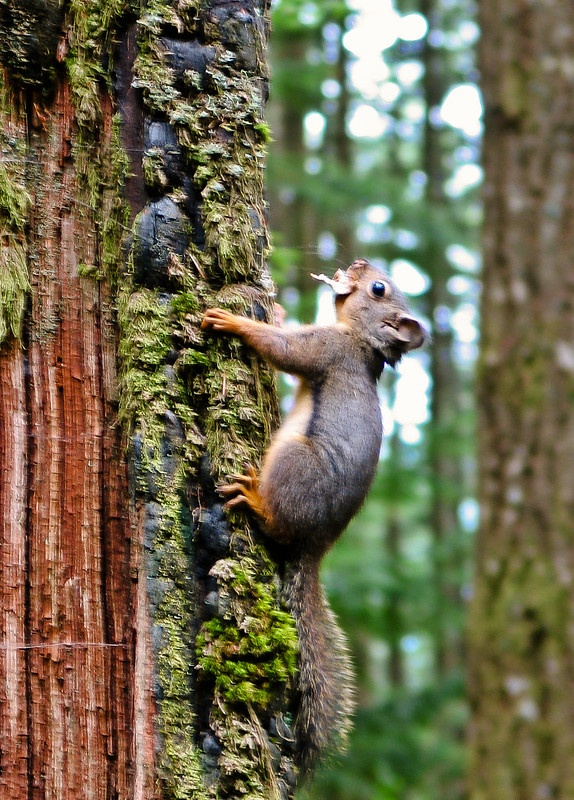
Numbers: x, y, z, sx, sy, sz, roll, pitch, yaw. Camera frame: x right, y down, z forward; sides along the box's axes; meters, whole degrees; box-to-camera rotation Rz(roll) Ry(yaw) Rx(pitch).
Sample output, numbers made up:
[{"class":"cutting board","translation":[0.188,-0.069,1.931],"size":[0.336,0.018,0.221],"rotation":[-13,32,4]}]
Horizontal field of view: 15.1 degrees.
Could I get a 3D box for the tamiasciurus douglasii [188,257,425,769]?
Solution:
[{"class":"tamiasciurus douglasii","translation":[0.112,0.327,9.480],"size":[0.843,2.587,0.741],"rotation":[-8,-19,11]}]
